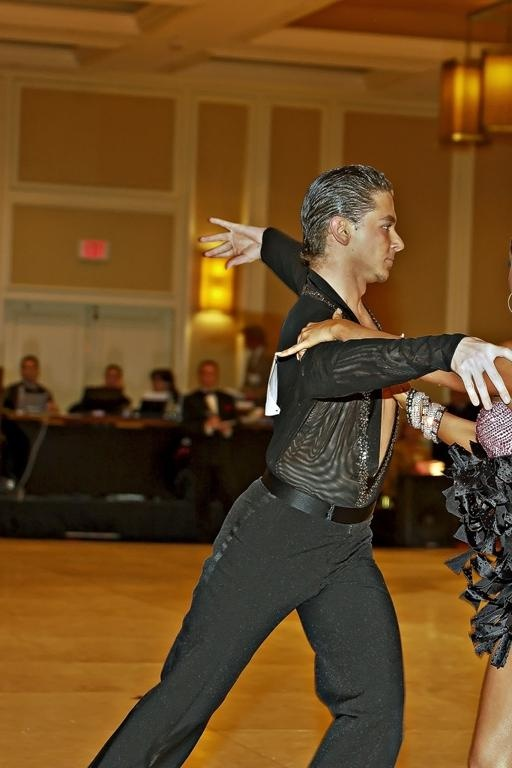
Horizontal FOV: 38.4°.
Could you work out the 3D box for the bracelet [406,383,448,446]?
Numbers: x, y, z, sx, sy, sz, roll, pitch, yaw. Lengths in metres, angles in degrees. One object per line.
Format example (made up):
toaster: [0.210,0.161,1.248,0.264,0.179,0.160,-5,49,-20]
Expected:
bracelet: [0.346,0.063,1.499,0.093,0.107,0.046,-26,15,-35]
